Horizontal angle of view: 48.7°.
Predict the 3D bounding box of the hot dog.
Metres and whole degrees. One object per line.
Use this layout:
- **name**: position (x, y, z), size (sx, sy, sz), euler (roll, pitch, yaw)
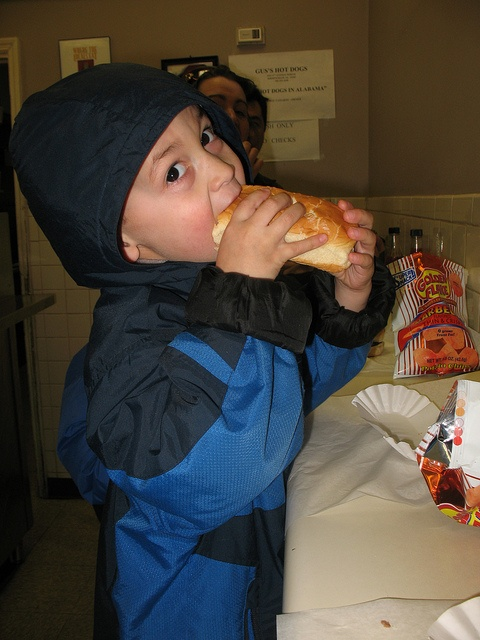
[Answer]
- **hot dog**: position (0.116, -0.127, 0.790), size (0.155, 0.062, 0.205), euler (34, 8, 19)
